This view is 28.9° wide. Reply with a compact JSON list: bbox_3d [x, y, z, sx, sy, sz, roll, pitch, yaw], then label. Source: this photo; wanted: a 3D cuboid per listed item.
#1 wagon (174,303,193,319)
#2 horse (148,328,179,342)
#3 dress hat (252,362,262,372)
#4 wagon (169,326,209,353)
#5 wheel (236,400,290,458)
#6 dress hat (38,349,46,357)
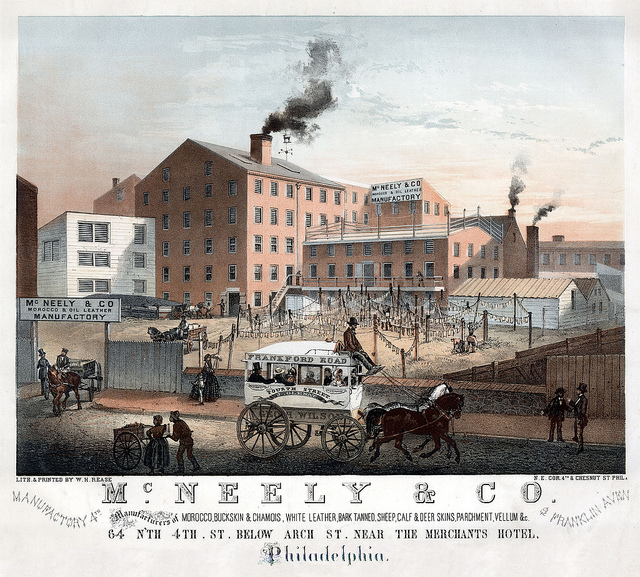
[{"bbox_3d":[-7.626,1.305,69.340,1.054,0.638,0.498,-1,13,19],"label":"wagon"},{"bbox_3d":[-6.906,2.157,55.603,0.888,0.456,0.689,-1,-4,-2],"label":"horse"},{"bbox_3d":[-2.121,2.710,42.337,0.233,0.286,0.250,5,5,37],"label":"dress hat"},{"bbox_3d":[-5.606,2.356,56.000,1.076,0.897,1.774,-1,-3,19],"label":"wagon"},{"bbox_3d":[-1.887,4.877,42.556,1.760,1.951,0.329,6,9,24],"label":"wheel"},{"bbox_3d":[-10.631,2.483,47.961,0.250,0.177,0.266,-4,21,26],"label":"dress hat"}]
